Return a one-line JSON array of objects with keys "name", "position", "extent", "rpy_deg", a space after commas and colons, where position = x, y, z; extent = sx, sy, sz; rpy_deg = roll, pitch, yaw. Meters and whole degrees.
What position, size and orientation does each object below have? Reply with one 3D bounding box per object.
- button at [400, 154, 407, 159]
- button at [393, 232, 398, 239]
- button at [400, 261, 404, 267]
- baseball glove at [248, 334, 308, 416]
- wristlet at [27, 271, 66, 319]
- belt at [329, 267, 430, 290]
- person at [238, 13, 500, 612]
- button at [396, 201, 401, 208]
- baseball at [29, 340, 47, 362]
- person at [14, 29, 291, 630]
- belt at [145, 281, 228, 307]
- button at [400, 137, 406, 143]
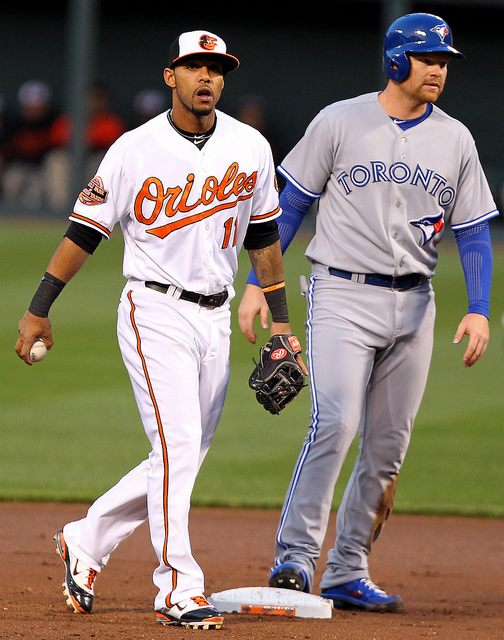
[{"name": "button", "position": [0.503, -0.547, 3.640], "extent": [0.015, 0.016, 0.004], "rpy_deg": [0, -2, 0]}, {"name": "button", "position": [0.480, -0.284, 3.661], "extent": [0.016, 0.021, 0.004], "rpy_deg": [1, 11, -8]}, {"name": "button", "position": [0.500, -0.190, 3.659], "extent": [0.012, 0.016, 0.005], "rpy_deg": [-2, 10, -9]}, {"name": "baseball glove", "position": [0.082, 0.154, 3.689], "extent": [0.178, 0.270, 0.295], "rpy_deg": [-5, 9, -27]}, {"name": "wristlet", "position": [-0.640, -0.074, 3.386], "extent": [0.079, 0.135, 0.086], "rpy_deg": [30, -10, -7]}, {"name": "belt", "position": [0.436, -0.136, 3.685], "extent": [0.185, 0.096, 0.176], "rpy_deg": [0, 4, -13]}, {"name": "person", "position": [0.405, -0.056, 3.713], "extent": [0.819, 2.162, 0.816], "rpy_deg": [1, 3, 12]}, {"name": "button", "position": [0.487, -0.387, 3.648], "extent": [0.015, 0.020, 0.005], "rpy_deg": [0, 5, 2]}, {"name": "baseball", "position": [-0.658, 0.095, 3.407], "extent": [0.058, 0.072, 0.059], "rpy_deg": [9, 18, -6]}, {"name": "person", "position": [-0.314, 0.021, 3.401], "extent": [0.753, 1.860, 0.631], "rpy_deg": [2, -1, 12]}, {"name": "belt", "position": [-0.200, -0.081, 3.398], "extent": [0.136, 0.028, 0.112], "rpy_deg": [18, -7, 0]}, {"name": "button", "position": [0.504, -0.603, 3.655], "extent": [0.020, 0.017, 0.016], "rpy_deg": [2, 11, -1]}]
